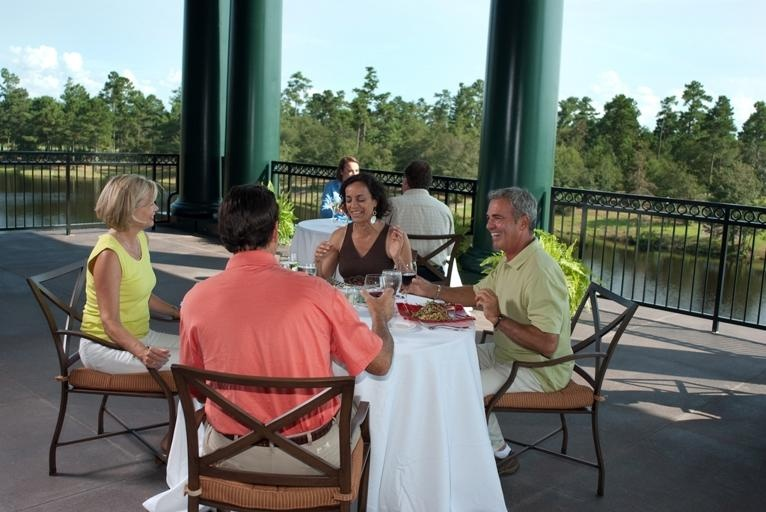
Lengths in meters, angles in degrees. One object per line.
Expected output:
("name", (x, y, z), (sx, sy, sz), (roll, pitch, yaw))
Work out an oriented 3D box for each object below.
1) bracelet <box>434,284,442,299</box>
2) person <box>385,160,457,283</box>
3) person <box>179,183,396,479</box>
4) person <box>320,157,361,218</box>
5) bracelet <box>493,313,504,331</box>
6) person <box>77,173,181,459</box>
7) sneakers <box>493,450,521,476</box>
("bracelet", (0.375, 0.243, 4.178), (0.019, 0.080, 0.076), (10, 1, -9))
("person", (0.321, -0.201, 5.939), (0.661, 1.285, 0.672), (3, -13, -25))
("person", (-0.467, 0.362, 2.961), (1.013, 1.374, 0.534), (0, 9, -18))
("person", (-0.481, -0.717, 7.155), (0.452, 0.884, 0.452), (4, 8, -19))
("bracelet", (0.696, 0.402, 3.713), (0.052, 0.091, 0.090), (11, 24, 14))
("person", (-1.590, 0.390, 3.819), (0.598, 1.769, 0.764), (-1, 9, -21))
("sneakers", (0.806, 1.363, 4.007), (0.081, 0.105, 0.250), (-15, -33, -6))
